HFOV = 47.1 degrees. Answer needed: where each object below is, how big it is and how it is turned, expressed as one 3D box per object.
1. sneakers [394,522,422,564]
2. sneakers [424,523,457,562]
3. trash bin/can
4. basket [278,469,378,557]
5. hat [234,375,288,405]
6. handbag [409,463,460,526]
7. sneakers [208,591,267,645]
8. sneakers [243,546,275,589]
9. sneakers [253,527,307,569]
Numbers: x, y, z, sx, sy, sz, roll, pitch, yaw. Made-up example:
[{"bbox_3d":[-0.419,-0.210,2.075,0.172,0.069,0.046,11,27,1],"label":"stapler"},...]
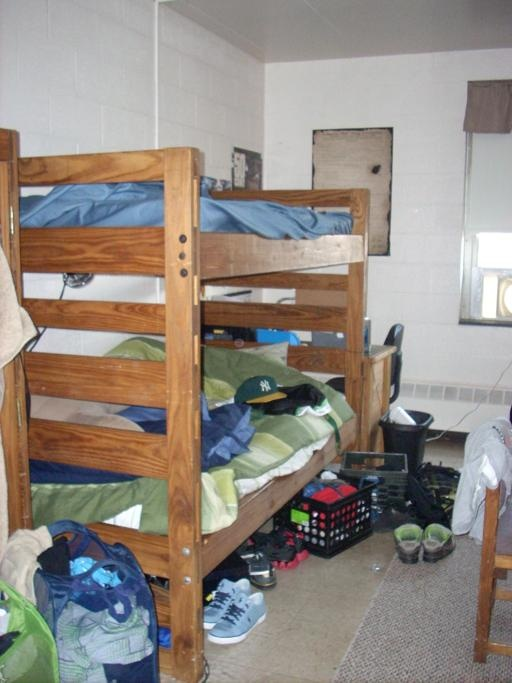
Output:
[{"bbox_3d":[0.586,0.766,2.217,0.074,0.059,0.146,0,18,10],"label":"sneakers"},{"bbox_3d":[0.689,0.765,2.224,0.083,0.060,0.148,4,19,21],"label":"sneakers"},{"bbox_3d":[0.800,0.493,3.078,0.342,0.310,0.276,0,5,17],"label":"trash bin/can"},{"bbox_3d":[0.283,0.672,2.330,0.301,0.173,0.300,9,15,41],"label":"basket"},{"bbox_3d":[0.023,0.205,2.403,0.125,0.064,0.161,-12,2,-36],"label":"hat"},{"bbox_3d":[0.835,0.668,2.759,0.166,0.253,0.100,5,19,17],"label":"handbag"},{"bbox_3d":[-0.040,0.813,1.742,0.074,0.080,0.212,13,2,27],"label":"sneakers"},{"bbox_3d":[0.006,0.783,2.030,0.068,0.056,0.141,-5,18,-25],"label":"sneakers"},{"bbox_3d":[0.092,0.757,2.160,0.157,0.057,0.122,8,25,22],"label":"sneakers"}]
